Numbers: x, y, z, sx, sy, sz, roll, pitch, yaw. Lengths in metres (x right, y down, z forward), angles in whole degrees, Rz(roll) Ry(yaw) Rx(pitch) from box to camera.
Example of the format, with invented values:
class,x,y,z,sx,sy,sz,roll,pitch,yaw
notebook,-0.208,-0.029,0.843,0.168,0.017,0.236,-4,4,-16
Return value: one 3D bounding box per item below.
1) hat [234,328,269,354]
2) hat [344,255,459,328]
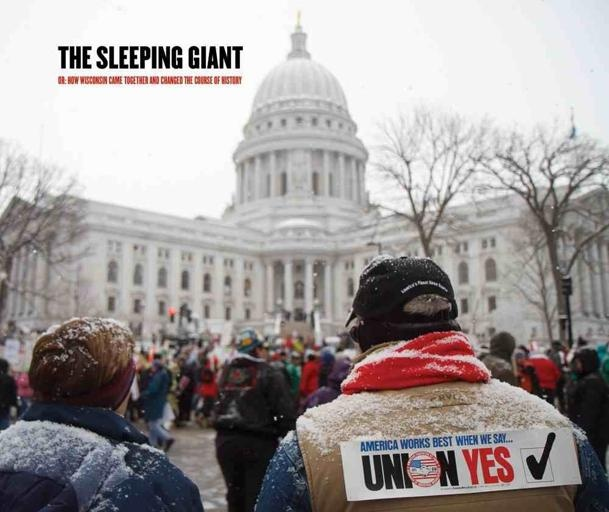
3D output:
class,x,y,z,sx,sy,sz,roll,pitch,yaw
hat,-0.509,0.769,6.680,0.154,0.138,0.235,-5,-20,-10
hat,0.465,0.208,3.610,0.461,0.373,0.690,8,-13,-18
